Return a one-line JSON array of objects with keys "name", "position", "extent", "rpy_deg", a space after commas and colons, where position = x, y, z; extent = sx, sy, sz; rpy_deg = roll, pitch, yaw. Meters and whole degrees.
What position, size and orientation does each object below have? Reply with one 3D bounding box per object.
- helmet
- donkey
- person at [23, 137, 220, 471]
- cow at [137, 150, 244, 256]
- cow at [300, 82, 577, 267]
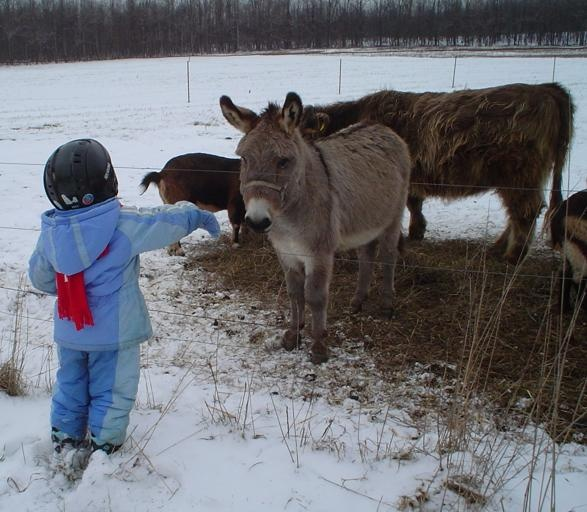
[{"name": "helmet", "position": [-1.809, -0.650, 6.081], "extent": [0.445, 0.631, 0.590], "rpy_deg": [2, 21, 43]}, {"name": "donkey", "position": [0.432, -0.363, 7.911], "extent": [0.955, 3.043, 2.777], "rpy_deg": [16, 24, 40]}, {"name": "person", "position": [-1.549, 0.365, 6.340], "extent": [1.084, 3.811, 1.129], "rpy_deg": [5, 8, 36]}, {"name": "cow", "position": [-1.146, -0.871, 10.424], "extent": [1.938, 1.841, 0.639], "rpy_deg": [-1, 28, -13]}, {"name": "cow", "position": [1.831, -1.250, 10.238], "extent": [3.714, 2.617, 1.252], "rpy_deg": [3, 19, 24]}]
